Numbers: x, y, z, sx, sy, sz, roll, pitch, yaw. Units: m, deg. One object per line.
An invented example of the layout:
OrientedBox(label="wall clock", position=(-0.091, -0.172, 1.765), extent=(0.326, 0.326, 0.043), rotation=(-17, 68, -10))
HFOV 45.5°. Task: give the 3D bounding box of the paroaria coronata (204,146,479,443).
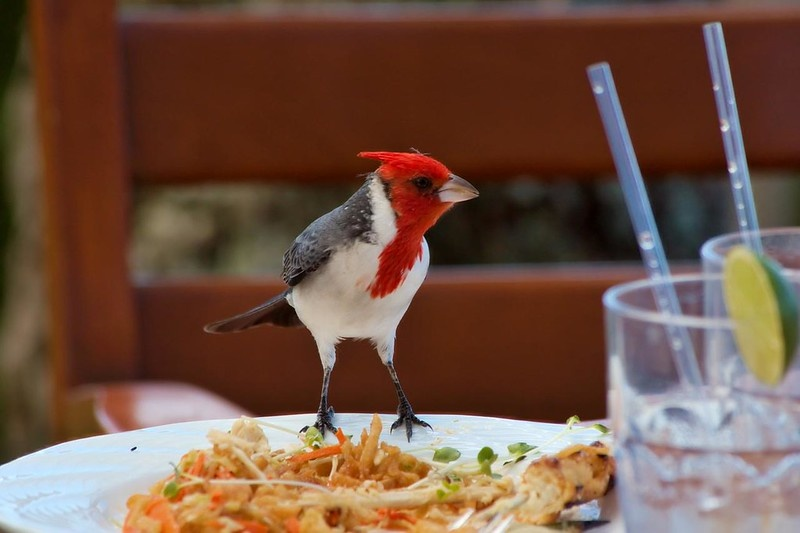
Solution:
OrientedBox(label="paroaria coronata", position=(-0.116, 0.019, 1.862), extent=(0.363, 0.537, 0.400), rotation=(-3, 8, -30))
